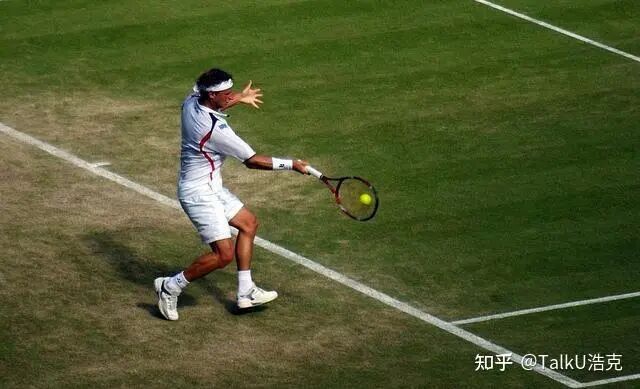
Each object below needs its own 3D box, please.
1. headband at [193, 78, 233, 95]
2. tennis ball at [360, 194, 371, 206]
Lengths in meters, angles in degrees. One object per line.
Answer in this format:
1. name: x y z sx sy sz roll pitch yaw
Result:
1. headband: -1.527 -1.536 13.078 0.480 0.066 0.260 -7 10 2
2. tennis ball: 0.684 0.070 14.003 0.169 0.216 0.165 -4 31 2
